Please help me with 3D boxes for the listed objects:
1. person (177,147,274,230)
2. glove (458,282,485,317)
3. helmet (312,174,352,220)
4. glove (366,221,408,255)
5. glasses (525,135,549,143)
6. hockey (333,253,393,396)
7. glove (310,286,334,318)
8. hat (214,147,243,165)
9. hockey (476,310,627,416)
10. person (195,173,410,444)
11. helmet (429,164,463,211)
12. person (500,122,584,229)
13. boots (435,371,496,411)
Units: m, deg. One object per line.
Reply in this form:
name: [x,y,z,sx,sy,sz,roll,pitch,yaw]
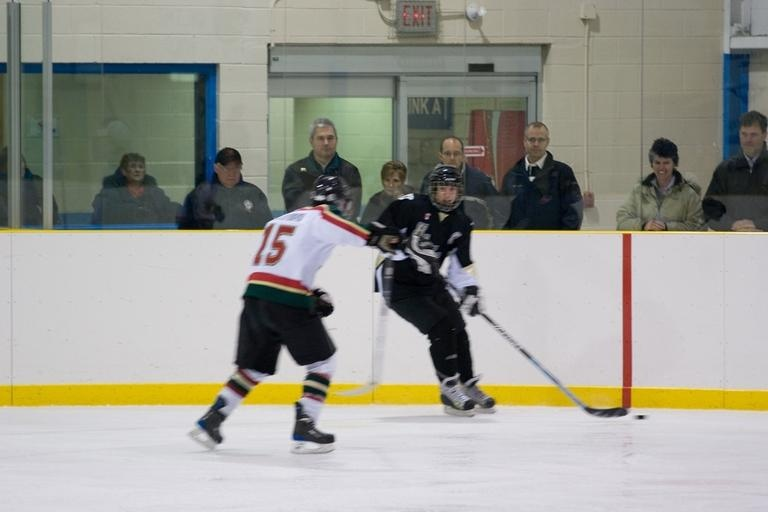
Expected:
person: [-1.066,-0.450,9.290,0.552,0.705,0.228,0,-4,-7]
glove: [0.544,0.298,8.788,0.140,0.183,0.071,5,9,17]
helmet: [-0.343,-0.335,8.210,0.240,0.235,0.204,0,4,-19]
glove: [-0.002,-0.101,8.313,0.206,0.161,0.086,4,6,-12]
glasses: [1.028,-0.770,9.296,0.158,0.045,0.021,0,8,-8]
hockey: [-0.140,0.504,9.137,0.303,0.132,1.130,7,42,5]
glove: [-0.413,0.300,8.229,0.163,0.062,0.122,49,32,11]
hat: [-1.070,-0.658,9.273,0.145,0.123,0.106,8,-11,-4]
hockey: [1.153,0.727,9.144,0.954,0.155,0.086,37,44,10]
person: [-0.575,0.437,8.217,1.156,1.452,0.268,1,8,3]
helmet: [0.393,-0.416,8.913,0.213,0.268,0.277,1,-3,-4]
person: [1.077,-0.526,9.294,0.517,0.707,0.172,0,8,-8]
boots: [0.542,0.905,9.006,0.344,0.218,0.211,1,6,0]
